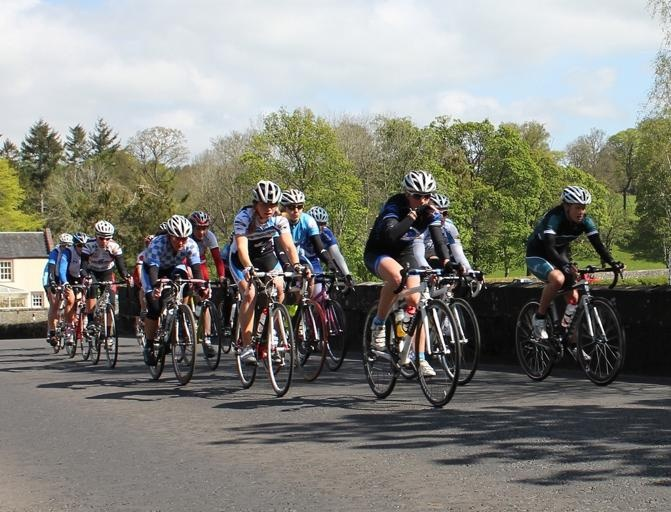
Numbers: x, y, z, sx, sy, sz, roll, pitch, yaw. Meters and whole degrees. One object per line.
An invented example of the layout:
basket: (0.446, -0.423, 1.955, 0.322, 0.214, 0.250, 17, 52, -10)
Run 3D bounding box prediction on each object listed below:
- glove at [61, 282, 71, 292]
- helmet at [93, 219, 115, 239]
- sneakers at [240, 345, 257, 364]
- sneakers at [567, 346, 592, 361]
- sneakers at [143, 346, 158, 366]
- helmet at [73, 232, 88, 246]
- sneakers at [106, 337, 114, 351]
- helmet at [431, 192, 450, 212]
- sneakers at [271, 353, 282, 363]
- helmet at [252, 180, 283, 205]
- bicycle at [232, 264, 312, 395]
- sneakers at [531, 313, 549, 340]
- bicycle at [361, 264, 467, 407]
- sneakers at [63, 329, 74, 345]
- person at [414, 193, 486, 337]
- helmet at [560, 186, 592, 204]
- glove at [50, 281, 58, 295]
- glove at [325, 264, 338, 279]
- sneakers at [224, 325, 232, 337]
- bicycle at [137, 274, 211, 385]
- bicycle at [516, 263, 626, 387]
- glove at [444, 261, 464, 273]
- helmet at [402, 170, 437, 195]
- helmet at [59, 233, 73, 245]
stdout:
glove: (-5.111, 0.581, 14.371, 0.164, 0.223, 0.494, 0, -4, -21)
helmet: (-4.204, -0.516, 13.655, 0.409, 0.236, 0.616, 3, 21, -29)
sneakers: (-1.072, 1.224, 9.382, 0.197, 0.121, 0.321, 0, 15, -7)
sneakers: (3.061, 1.210, 9.518, 0.128, 0.122, 0.331, 0, 32, -39)
sneakers: (-2.678, 1.465, 10.963, 0.132, 0.423, 0.168, -11, 13, -18)
helmet: (-4.883, -0.320, 14.472, 0.252, 0.150, 0.416, 0, 15, -29)
sneakers: (-3.767, 1.492, 12.728, 0.087, 0.228, 0.491, -2, 0, -26)
helmet: (1.517, -0.775, 10.888, 0.273, 0.151, 0.426, 14, 29, -3)
sneakers: (-0.703, 1.225, 9.137, 0.113, 0.133, 0.142, 14, -6, -9)
helmet: (-0.838, -0.769, 9.314, 0.328, 0.289, 0.394, -2, 0, -8)
bicycle: (-0.827, 0.936, 9.470, 0.704, 1.604, 1.455, -2, 0, -21)
sneakers: (2.675, 0.926, 9.905, 0.116, 0.376, 0.145, -11, -23, 2)
bicycle: (0.851, 0.897, 8.420, 0.362, 1.512, 1.595, -2, 0, -32)
sneakers: (-5.155, 1.550, 14.667, 0.191, 0.346, 0.130, -1, -1, 28)
person: (1.562, -0.139, 10.872, 0.561, 1.455, 1.680, -2, 3, 1)
helmet: (3.055, -0.766, 9.706, 0.242, 0.158, 0.362, 1, 2, -3)
glove: (-5.784, 0.637, 15.477, 0.178, 0.264, 0.086, 5, -16, 6)
glove: (-0.045, 0.223, 11.095, 0.135, 0.188, 0.158, 26, -31, -35)
sneakers: (-1.702, 1.184, 11.940, 0.102, 0.131, 0.311, 1, -9, -12)
bicycle: (-2.231, 1.052, 10.532, 0.615, 1.533, 1.522, -2, 0, -28)
bicycle: (2.970, 0.971, 9.522, 0.417, 1.422, 1.784, -2, 0, -21)
glove: (1.285, 0.125, 8.198, 0.135, 0.063, 0.142, -3, 36, -8)
helmet: (0.945, -0.821, 8.482, 0.320, 0.276, 0.598, -2, 0, 6)
helmet: (-5.468, -0.336, 15.350, 0.280, 0.183, 0.471, 1, 3, -25)
